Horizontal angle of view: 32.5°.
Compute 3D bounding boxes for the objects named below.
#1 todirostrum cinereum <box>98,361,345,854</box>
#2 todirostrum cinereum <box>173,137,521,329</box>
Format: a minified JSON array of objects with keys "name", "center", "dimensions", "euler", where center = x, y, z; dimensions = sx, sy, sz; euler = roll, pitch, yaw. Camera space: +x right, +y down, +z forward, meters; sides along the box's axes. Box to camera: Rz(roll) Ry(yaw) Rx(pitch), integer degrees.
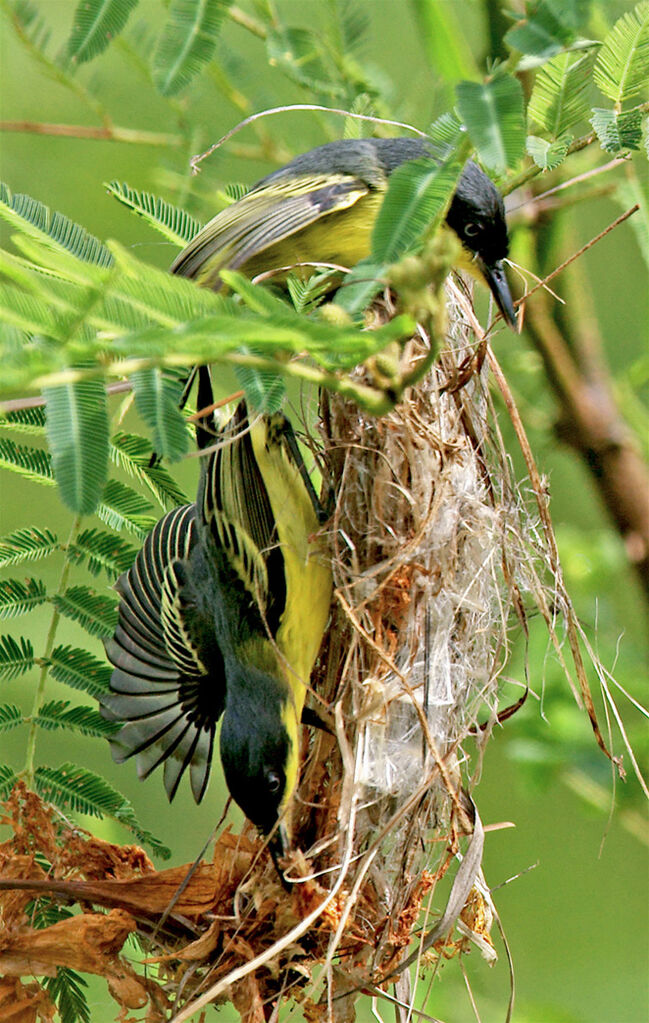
[{"name":"todirostrum cinereum","center":[-0.036,0.106,1.548],"dimensions":[0.495,0.521,0.226],"euler":[-6,11,46]},{"name":"todirostrum cinereum","center":[0.015,-0.350,1.348],"dimensions":[0.461,0.228,0.198],"euler":[14,23,22]}]
